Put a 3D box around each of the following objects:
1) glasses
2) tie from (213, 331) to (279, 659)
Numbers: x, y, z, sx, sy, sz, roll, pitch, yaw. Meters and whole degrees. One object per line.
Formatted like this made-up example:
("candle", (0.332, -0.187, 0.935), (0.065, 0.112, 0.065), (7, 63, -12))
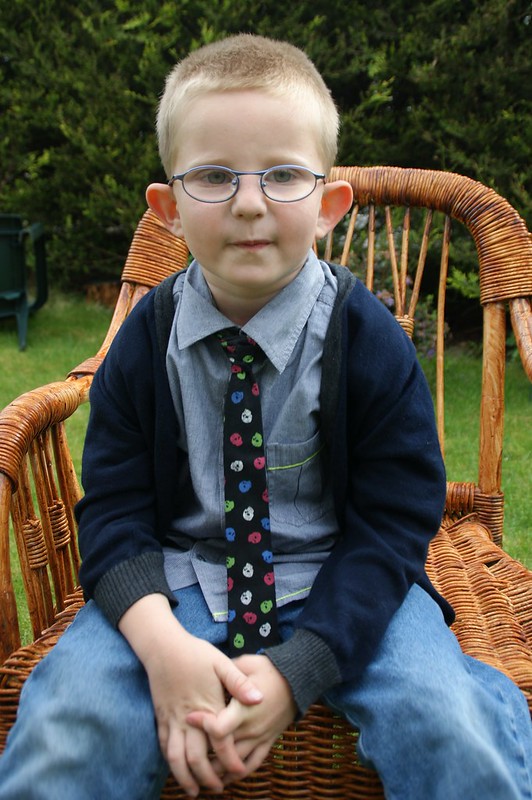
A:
("glasses", (-0.016, -0.239, 0.831), (0.155, 0.040, 0.064), (0, 14, 0))
("tie", (-0.022, 0.078, 0.816), (0.065, 0.300, 0.040), (-8, -19, 18))
